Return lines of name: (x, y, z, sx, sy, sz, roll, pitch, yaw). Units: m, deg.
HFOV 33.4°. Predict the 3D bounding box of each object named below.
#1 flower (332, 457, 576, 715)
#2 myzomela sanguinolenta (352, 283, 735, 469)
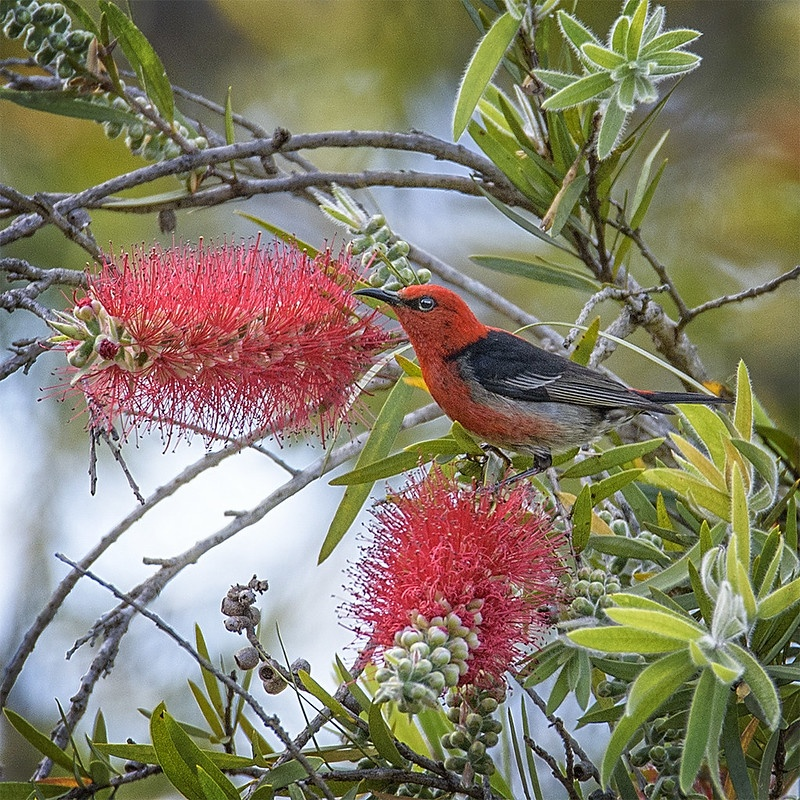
flower: (0.121, 0.361, 3.076, 0.488, 0.584, 0.692, -4, 10, -9)
myzomela sanguinolenta: (0.395, -0.049, 3.671, 0.945, 0.543, 0.268, -2, -5, -12)
